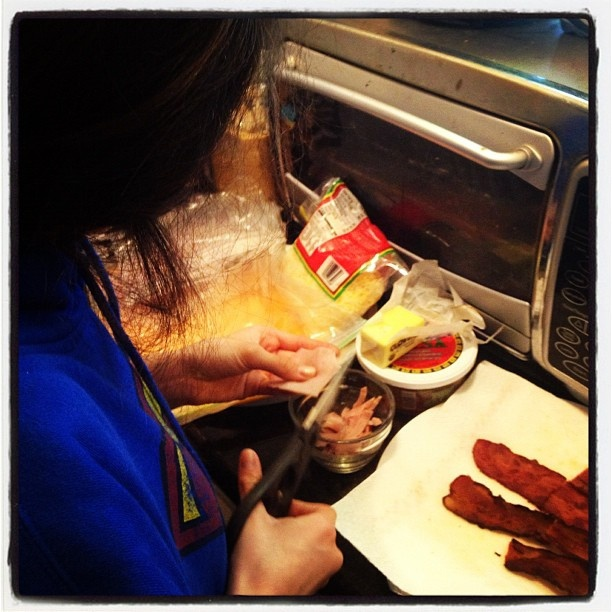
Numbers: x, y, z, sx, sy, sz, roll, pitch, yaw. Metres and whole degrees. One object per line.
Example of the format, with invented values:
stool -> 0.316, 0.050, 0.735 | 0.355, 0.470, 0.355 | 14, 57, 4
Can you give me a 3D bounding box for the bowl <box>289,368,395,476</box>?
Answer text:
bowl -> 0.038, 0.089, 0.462 | 0.081, 0.050, 0.077 | -2, 36, 1
